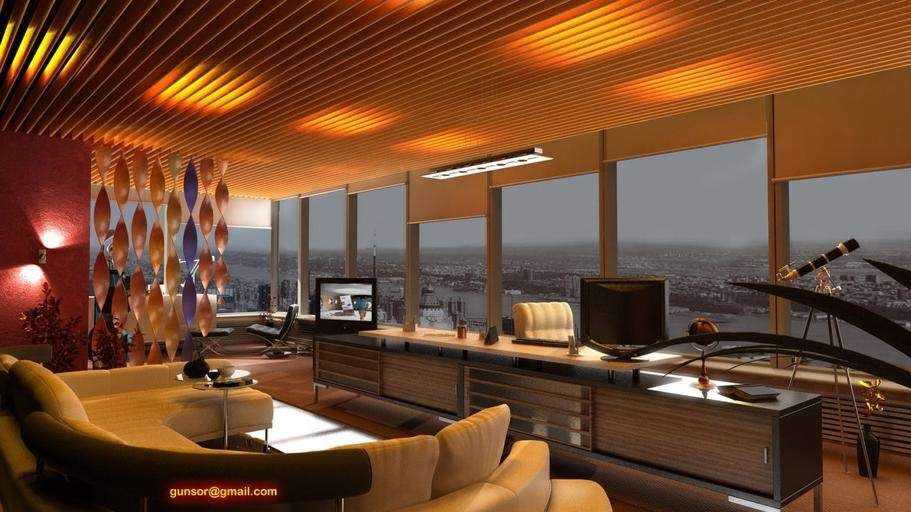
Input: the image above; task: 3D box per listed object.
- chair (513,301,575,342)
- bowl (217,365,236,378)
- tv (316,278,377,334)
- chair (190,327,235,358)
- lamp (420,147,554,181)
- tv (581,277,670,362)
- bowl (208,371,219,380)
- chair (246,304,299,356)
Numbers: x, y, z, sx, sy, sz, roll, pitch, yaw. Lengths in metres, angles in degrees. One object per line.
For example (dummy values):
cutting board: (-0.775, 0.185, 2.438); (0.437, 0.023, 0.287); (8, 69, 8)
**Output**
chair: (1.224, 0.972, 7.636); (0.718, 0.773, 0.710); (5, -10, -26)
bowl: (-3.045, 1.551, 6.919); (0.180, 0.091, 0.165); (0, -9, 0)
tv: (-2.152, 0.993, 10.402); (1.573, 1.025, 0.143); (-2, -2, 30)
chair: (-5.817, 2.086, 12.461); (0.923, 0.468, 1.205); (1, -3, -8)
lamp: (0.441, -1.518, 8.582); (1.771, 0.110, 0.263); (-10, 11, 8)
tv: (2.066, 0.679, 6.141); (0.419, 0.827, 1.074); (5, -7, -41)
bowl: (-3.189, 1.589, 6.908); (0.157, 0.086, 0.136); (0, -7, -5)
chair: (-4.561, 1.814, 13.108); (1.228, 0.908, 0.687); (-4, 2, -6)
